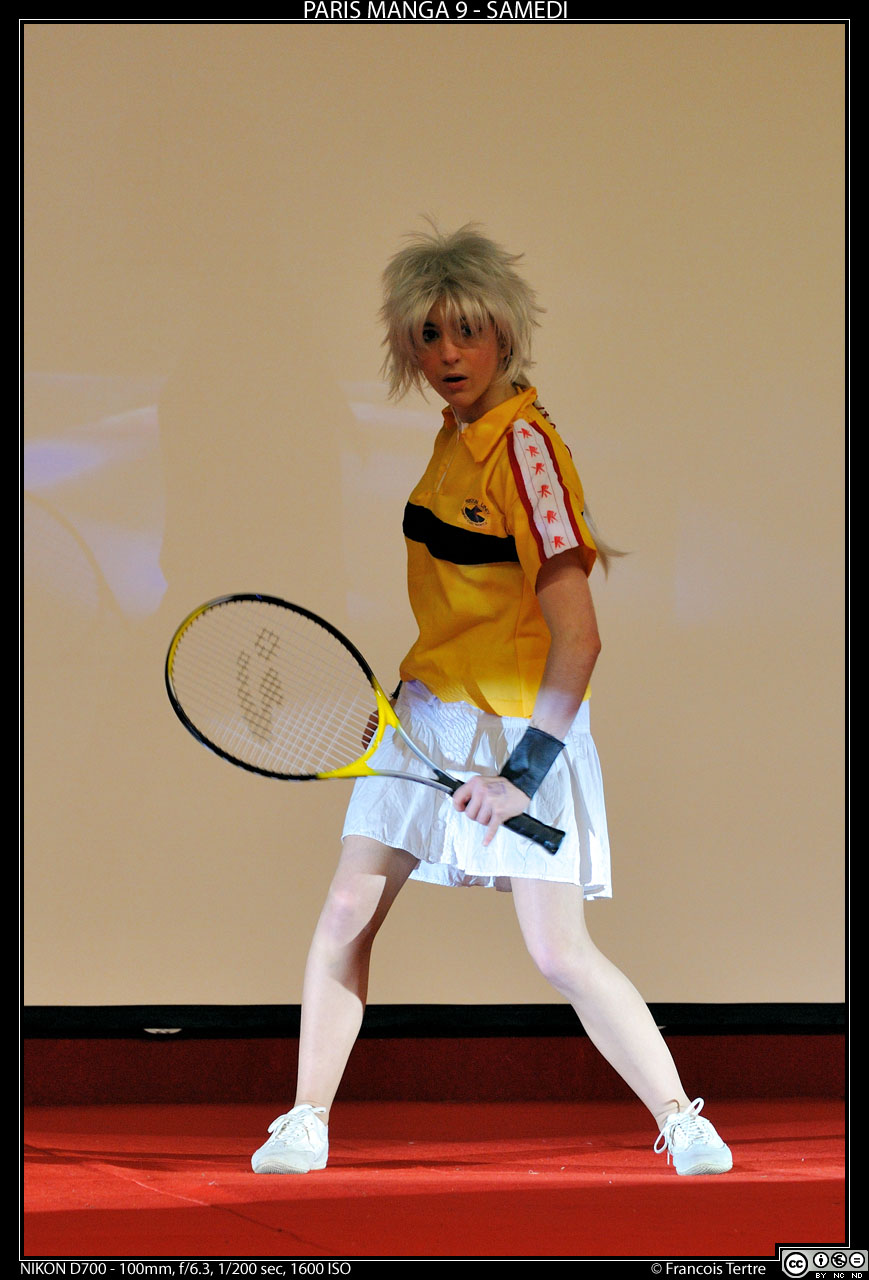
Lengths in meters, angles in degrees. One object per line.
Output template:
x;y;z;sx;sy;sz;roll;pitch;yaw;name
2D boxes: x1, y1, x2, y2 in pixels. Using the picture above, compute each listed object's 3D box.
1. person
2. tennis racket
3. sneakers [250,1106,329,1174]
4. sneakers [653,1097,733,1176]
0.093;0.103;2.747;0.817;1.730;0.441;-1;-9;9;person
-0.188;0.157;2.866;0.936;0.330;0.079;27;1;18;tennis racket
-0.257;0.887;2.687;0.130;0.127;0.073;-5;-10;28;sneakers
0.449;0.881;2.737;0.093;0.079;0.183;-39;4;-6;sneakers
